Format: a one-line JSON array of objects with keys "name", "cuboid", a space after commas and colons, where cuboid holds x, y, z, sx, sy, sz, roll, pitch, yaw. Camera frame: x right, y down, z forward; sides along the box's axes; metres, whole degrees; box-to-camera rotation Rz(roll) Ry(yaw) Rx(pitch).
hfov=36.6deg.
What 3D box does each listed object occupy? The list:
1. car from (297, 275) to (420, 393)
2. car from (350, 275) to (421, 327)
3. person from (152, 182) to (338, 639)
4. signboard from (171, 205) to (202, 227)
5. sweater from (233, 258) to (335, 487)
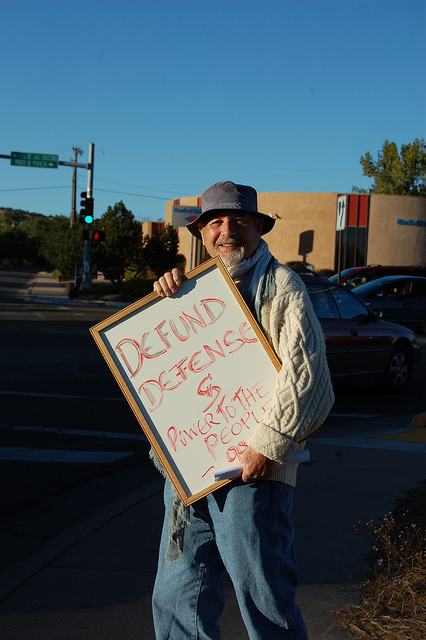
[{"name": "car", "cuboid": [1.857, 0.167, 9.500, 2.547, 1.274, 1.311, -3, 2, -29]}, {"name": "car", "cuboid": [4.690, -0.569, 16.260, 2.393, 1.367, 1.750, 3, 0, -13]}, {"name": "person", "cuboid": [0.115, 0.283, 2.078, 0.582, 1.495, 0.450, 0, 4, 38]}, {"name": "signboard", "cuboid": [-2.335, -8.909, 54.161, 1.693, 2.158, 2.900, -3, 3, -20]}, {"name": "sweater", "cuboid": [0.185, 0.135, 1.971, 0.347, 0.661, 0.279, 5, 8, -1]}]
